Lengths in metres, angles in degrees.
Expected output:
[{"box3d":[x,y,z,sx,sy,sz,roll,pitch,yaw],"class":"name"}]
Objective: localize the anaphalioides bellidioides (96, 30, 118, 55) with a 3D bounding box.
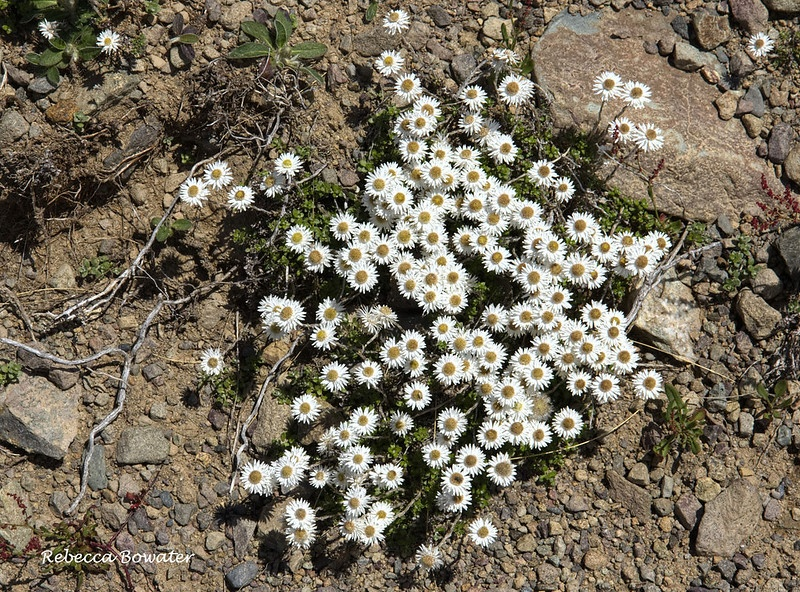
[{"box3d":[-3.027,-2.628,9.335,0.250,0.176,0.214,-14,65,-9],"class":"anaphalioides bellidioides"}]
